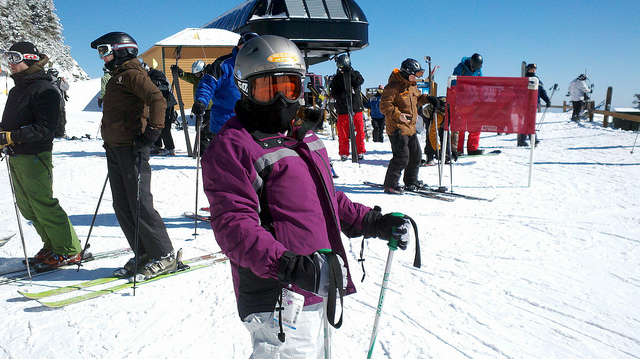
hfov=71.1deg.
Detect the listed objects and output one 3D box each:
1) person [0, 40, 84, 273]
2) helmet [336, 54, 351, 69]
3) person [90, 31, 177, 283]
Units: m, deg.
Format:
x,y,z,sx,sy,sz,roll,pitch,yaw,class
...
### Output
x,y,z,sx,sy,sz,roll,pitch,yaw,class
-4.615,-0.353,7.383,1.081,3.744,0.503,1,9,7,person
0.633,-3.204,12.109,0.320,0.399,0.263,0,9,2,helmet
-2.926,-0.334,7.126,1.119,3.939,0.603,5,11,31,person
